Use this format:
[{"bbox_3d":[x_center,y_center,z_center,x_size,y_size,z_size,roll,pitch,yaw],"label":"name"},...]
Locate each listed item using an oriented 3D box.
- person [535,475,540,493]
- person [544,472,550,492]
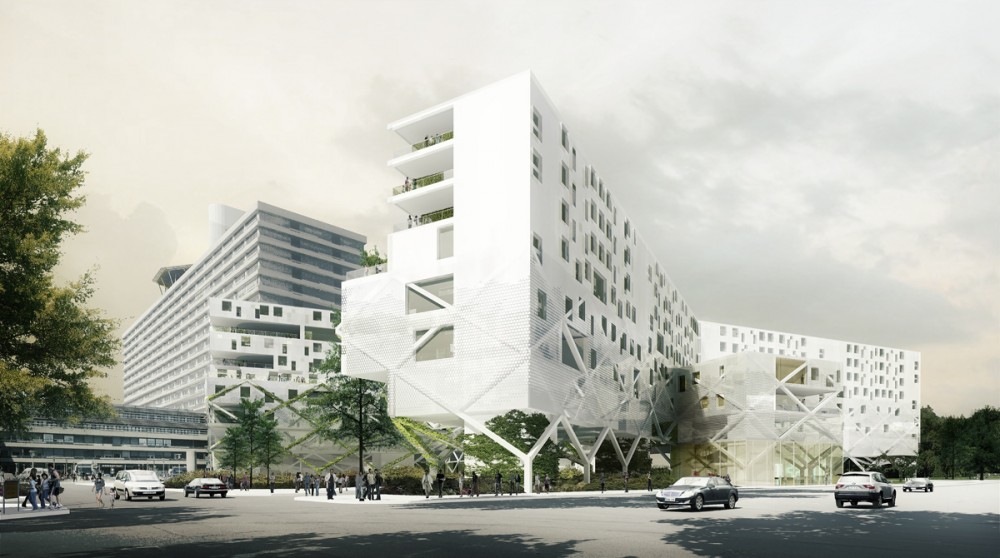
[{"bbox_3d":[3.730,20.097,87.695,0.427,1.522,1.456,-4,-20,14],"label":"person"},{"bbox_3d":[4.597,19.933,87.003,0.450,1.640,0.818,3,-20,-7],"label":"person"}]
